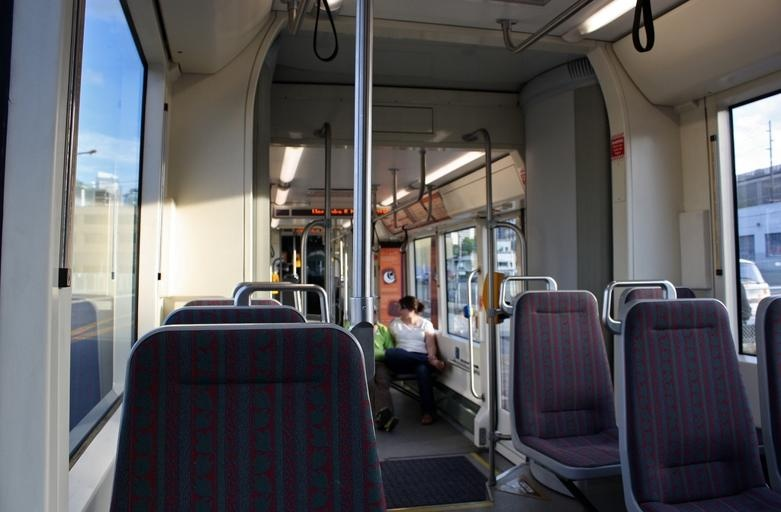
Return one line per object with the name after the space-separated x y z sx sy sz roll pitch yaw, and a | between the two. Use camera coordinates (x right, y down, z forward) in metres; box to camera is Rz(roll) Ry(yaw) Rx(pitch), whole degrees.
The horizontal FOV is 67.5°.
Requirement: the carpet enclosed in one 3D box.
0.382 1.910 4.936 0.882 0.061 1.211 -1 -2 -5 | carpet

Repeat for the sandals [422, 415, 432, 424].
0.418 1.886 6.727 0.135 0.096 0.124 -1 -2 1 | sandals

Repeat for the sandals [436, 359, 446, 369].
0.638 1.389 7.442 0.091 0.107 0.246 -2 -2 15 | sandals
